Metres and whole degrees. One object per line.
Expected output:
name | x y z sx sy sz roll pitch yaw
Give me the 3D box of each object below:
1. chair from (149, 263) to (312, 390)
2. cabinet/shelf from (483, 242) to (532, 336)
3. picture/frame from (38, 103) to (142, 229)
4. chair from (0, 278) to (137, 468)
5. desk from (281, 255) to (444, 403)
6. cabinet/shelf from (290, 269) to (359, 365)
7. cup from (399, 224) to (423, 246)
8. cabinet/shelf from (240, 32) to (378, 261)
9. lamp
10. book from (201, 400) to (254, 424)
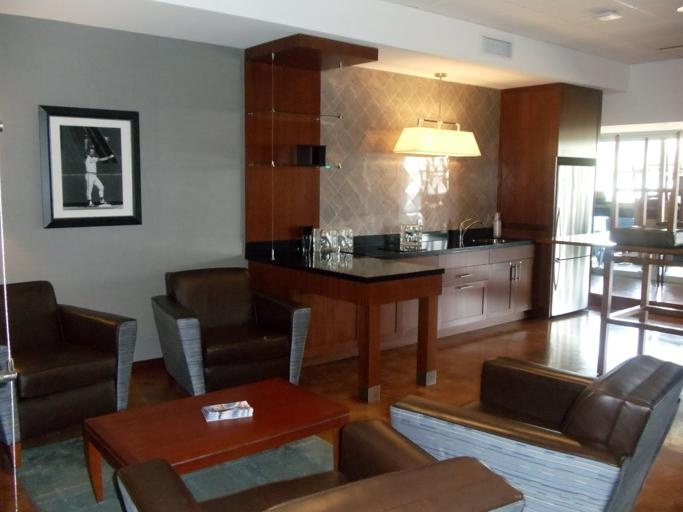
chair | -0.934 0.407 4.387 1.018 0.871 1.002 -1 2 -32
cabinet/shelf | 1.855 0.359 6.296 0.919 0.916 0.609 -4 4 -38
picture/frame | -1.982 -0.716 4.313 0.946 1.179 0.088 -3 6 -37
chair | -1.858 0.699 4.040 0.929 1.127 1.040 -4 7 -42
desk | 0.140 0.461 4.795 0.912 1.207 1.652 -4 6 -34
cabinet/shelf | -0.168 0.506 4.710 0.290 0.807 0.834 -1 -2 44
cup | 0.712 -0.205 5.635 0.232 0.221 0.198 -3 10 -4
cabinet/shelf | -0.378 -0.922 4.906 0.996 1.815 0.844 -5 10 -18
lamp | 1.025 -1.503 5.969 1.097 0.886 0.489 -9 12 -36
book | -0.630 0.855 3.069 0.175 0.044 0.121 -3 7 -21
